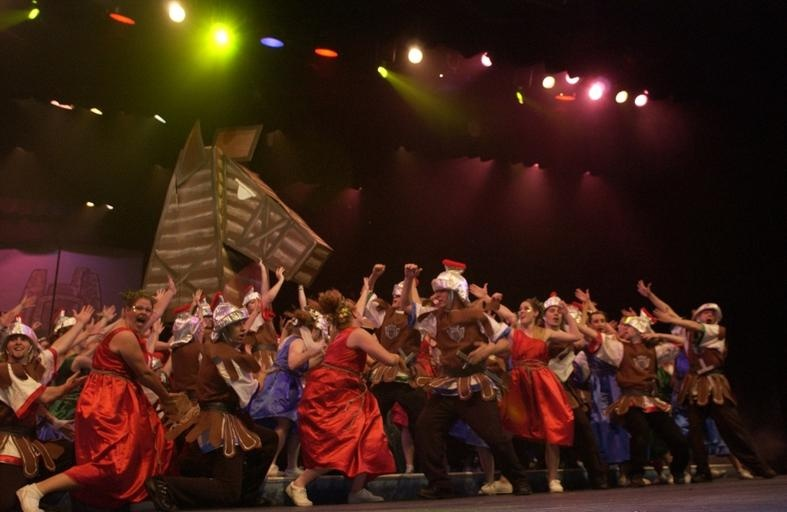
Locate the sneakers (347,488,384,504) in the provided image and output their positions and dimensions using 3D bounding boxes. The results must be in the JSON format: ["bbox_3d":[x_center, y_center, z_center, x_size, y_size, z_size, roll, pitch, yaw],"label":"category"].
[{"bbox_3d":[-0.305,2.484,6.210,0.406,0.183,0.142,1,-8,-8],"label":"sneakers"}]

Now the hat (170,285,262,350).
[{"bbox_3d":[-2.035,0.705,6.497,0.924,0.533,0.640,-19,-20,-7],"label":"hat"}]

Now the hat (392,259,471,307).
[{"bbox_3d":[0.486,0.326,6.842,0.764,0.613,0.410,0,-11,4],"label":"hat"}]

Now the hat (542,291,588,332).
[{"bbox_3d":[2.181,0.762,7.829,0.527,0.493,0.519,18,19,38],"label":"hat"}]

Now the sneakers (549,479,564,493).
[{"bbox_3d":[1.869,2.656,6.919,0.118,0.090,0.238,0,-8,6],"label":"sneakers"}]

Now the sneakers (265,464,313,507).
[{"bbox_3d":[-1.074,2.379,6.131,0.617,0.278,0.222,17,-21,44],"label":"sneakers"}]
